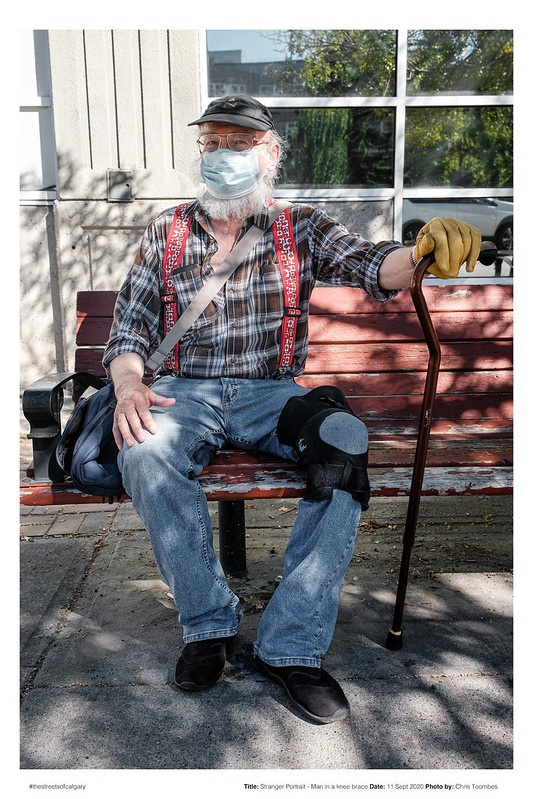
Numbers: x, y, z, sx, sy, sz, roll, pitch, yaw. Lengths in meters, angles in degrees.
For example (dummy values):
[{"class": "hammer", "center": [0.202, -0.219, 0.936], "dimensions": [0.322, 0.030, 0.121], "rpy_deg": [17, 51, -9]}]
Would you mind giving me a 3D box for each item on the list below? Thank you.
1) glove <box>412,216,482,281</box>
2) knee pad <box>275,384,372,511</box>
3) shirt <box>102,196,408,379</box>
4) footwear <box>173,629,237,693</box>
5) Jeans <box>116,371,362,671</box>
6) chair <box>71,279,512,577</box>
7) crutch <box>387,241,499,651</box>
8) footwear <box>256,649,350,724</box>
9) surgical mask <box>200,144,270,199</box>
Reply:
[{"class": "glove", "center": [0.501, -0.427, 2.002], "dimensions": [0.162, 0.098, 0.193], "rpy_deg": [-18, 2, -23]}, {"class": "knee pad", "center": [0.161, 0.084, 2.108], "dimensions": [0.240, 0.147, 0.380], "rpy_deg": [-19, 42, -10]}, {"class": "shirt", "center": [-0.047, -0.343, 2.511], "dimensions": [1.296, 0.771, 0.563], "rpy_deg": [2, 5, 0]}, {"class": "footwear", "center": [-0.199, 0.760, 2.001], "dimensions": [0.082, 0.077, 0.201], "rpy_deg": [-2, -8, 12]}, {"class": "Jeans", "center": [-0.118, 0.370, 2.317], "dimensions": [0.931, 1.066, 0.772], "rpy_deg": [2, -13, -6]}, {"class": "chair", "center": [0.349, 0.088, 2.629], "dimensions": [1.763, 0.899, 0.693], "rpy_deg": [-3, 27, -23]}, {"class": "crutch", "center": [0.467, 0.155, 2.109], "dimensions": [0.317, 1.226, 0.185], "rpy_deg": [12, 2, 15]}, {"class": "footwear", "center": [0.090, 0.791, 1.963], "dimensions": [0.134, 0.123, 0.347], "rpy_deg": [23, -5, -37]}, {"class": "surgical mask", "center": [-0.138, -0.779, 2.387], "dimensions": [0.166, 0.121, 0.187], "rpy_deg": [1, 26, 9]}]
